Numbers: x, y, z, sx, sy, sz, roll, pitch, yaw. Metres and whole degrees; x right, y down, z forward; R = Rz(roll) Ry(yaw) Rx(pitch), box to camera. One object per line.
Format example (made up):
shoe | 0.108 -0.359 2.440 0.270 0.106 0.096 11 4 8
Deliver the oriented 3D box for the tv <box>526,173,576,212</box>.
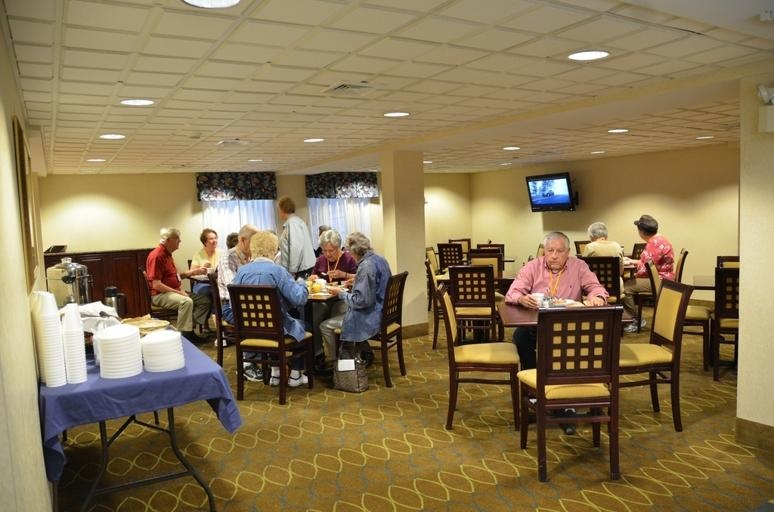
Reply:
tv | 3.656 -1.455 11.300 0.962 0.700 0.130 -5 17 45

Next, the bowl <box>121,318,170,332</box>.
bowl | -1.869 0.535 4.051 0.190 0.053 0.252 0 3 -6

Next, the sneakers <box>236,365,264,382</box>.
sneakers | -1.593 1.374 5.977 0.311 0.136 0.135 1 1 40

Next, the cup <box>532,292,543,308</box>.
cup | 1.321 0.385 4.555 0.111 0.111 0.108 0 -8 0

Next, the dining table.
dining table | -0.678 0.792 5.806 0.576 0.506 1.044 -1 5 -4

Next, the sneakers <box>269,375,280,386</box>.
sneakers | -1.257 1.398 5.744 0.084 0.080 0.196 1 3 2

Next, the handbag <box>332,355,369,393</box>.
handbag | -0.381 1.272 5.499 0.405 0.378 0.298 0 -1 18

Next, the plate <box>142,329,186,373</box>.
plate | -1.501 0.642 3.498 0.278 0.247 0.259 -2 3 -21

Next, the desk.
desk | -1.702 1.048 3.767 1.249 0.892 1.204 -5 4 -22

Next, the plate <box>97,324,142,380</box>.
plate | -1.785 0.636 3.545 0.324 0.343 0.316 -4 6 -37

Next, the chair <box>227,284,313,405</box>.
chair | -1.240 0.863 5.383 0.751 1.260 0.540 1 11 18

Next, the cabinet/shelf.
cabinet/shelf | -3.598 0.307 6.462 1.171 1.051 0.363 -3 1 -33

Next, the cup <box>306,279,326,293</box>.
cup | -0.824 0.340 5.971 0.169 0.101 0.168 1 1 0
